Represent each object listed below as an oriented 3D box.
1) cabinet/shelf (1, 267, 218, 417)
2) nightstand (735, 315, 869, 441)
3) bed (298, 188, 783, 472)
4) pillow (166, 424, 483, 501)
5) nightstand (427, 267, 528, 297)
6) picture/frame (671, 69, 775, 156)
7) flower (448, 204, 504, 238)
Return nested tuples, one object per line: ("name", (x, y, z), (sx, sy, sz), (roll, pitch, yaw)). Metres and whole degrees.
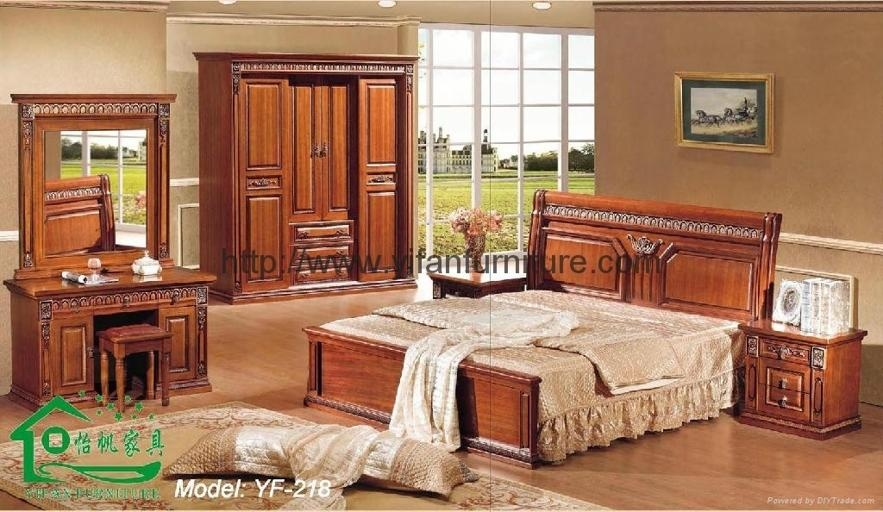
("cabinet/shelf", (-2.748, 0.498, 5.801), (2.321, 1.192, 1.061), (-3, 6, -37))
("nightstand", (2.620, 0.786, 5.380), (0.887, 0.892, 1.096), (-3, 7, -40))
("bed", (0.922, 0.247, 5.421), (2.902, 1.297, 2.799), (-5, 8, -40))
("pillow", (-0.721, 1.266, 4.254), (1.792, 0.298, 0.490), (3, 13, 13))
("nightstand", (0.394, 0.202, 6.741), (0.485, 0.292, 0.482), (-2, 4, -40))
("picture/frame", (2.482, -1.285, 6.054), (0.039, 0.655, 1.037), (-18, 21, -24))
("flower", (0.342, -0.365, 7.102), (0.412, 0.200, 0.402), (0, 3, -24))
